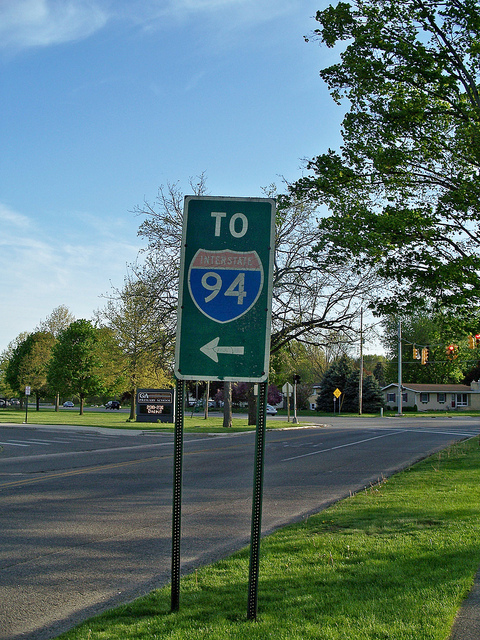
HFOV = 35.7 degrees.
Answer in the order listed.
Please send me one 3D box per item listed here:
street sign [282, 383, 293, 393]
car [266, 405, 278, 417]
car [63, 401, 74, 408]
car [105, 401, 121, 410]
[{"bbox_3d":[2.705,3.908,42.794,0.550,0.700,0.712,0,-4,4],"label":"street sign"},{"bbox_3d":[3.076,8.712,72.525,1.132,0.819,2.590,-1,-15,1],"label":"car"},{"bbox_3d":[-23.897,11.793,104.041,1.257,0.902,2.660,3,-2,-20],"label":"car"},{"bbox_3d":[-16.331,10.664,93.613,1.800,0.858,1.091,3,-4,22],"label":"car"}]
